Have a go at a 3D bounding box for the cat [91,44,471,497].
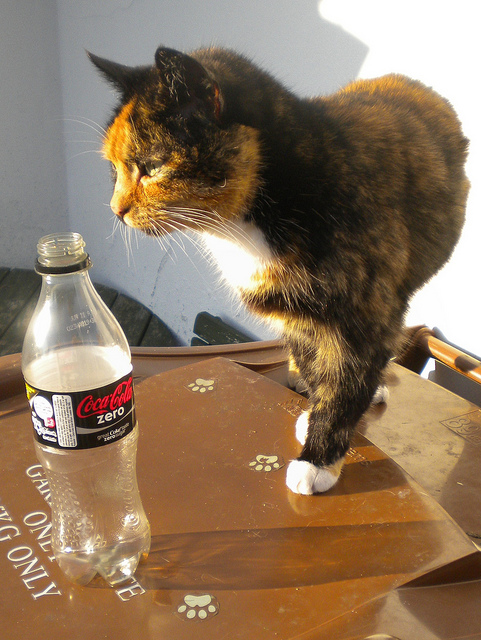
[{"bbox_3d":[0.139,-0.138,1.044,0.538,0.486,0.569,-15,37,-39],"label":"cat"}]
